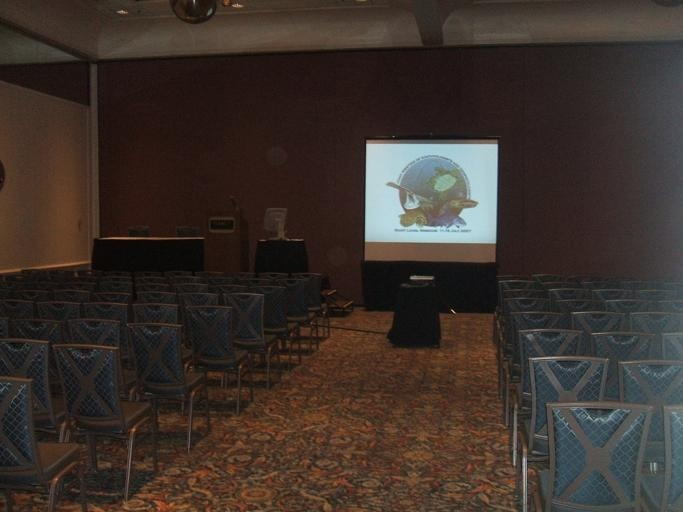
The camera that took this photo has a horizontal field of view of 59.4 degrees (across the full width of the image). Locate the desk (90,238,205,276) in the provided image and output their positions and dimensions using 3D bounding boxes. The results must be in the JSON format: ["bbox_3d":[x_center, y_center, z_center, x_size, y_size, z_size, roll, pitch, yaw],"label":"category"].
[{"bbox_3d":[-3.955,-0.013,12.076,2.383,0.694,1.141,1,2,-4],"label":"desk"}]

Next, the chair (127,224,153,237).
[{"bbox_3d":[-4.442,-0.573,13.217,0.204,0.260,0.375,0,1,15],"label":"chair"}]

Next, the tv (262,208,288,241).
[{"bbox_3d":[-1.287,-0.649,12.830,0.719,0.704,0.688,1,-4,-29],"label":"tv"}]
